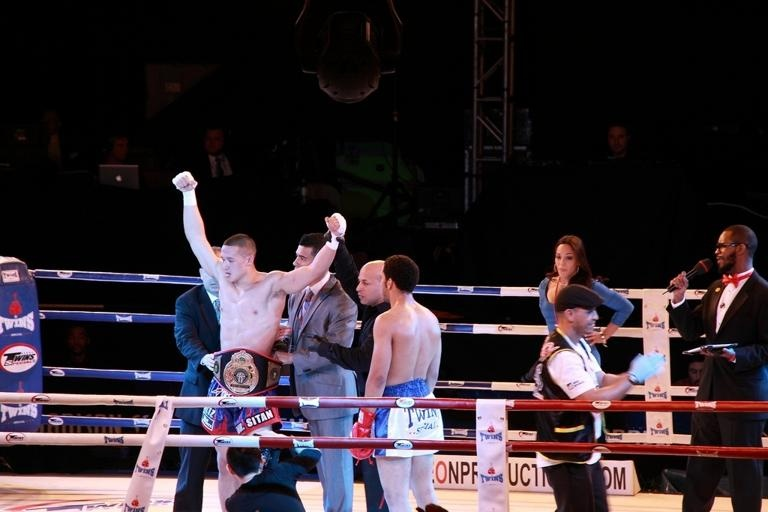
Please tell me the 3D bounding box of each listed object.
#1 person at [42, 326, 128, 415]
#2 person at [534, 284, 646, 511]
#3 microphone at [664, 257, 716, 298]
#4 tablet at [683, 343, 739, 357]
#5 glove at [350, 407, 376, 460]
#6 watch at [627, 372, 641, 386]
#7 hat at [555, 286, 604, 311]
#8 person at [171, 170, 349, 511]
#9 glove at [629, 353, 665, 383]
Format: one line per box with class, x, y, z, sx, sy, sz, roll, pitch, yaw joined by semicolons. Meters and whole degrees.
person;-3.864;1.378;11.736;1.257;1.018;0.271;2;-6;1
person;1.709;1.214;8.128;0.811;1.909;0.481;1;-11;7
microphone;3.249;0.223;10.080;0.571;0.142;0.142;-35;-20;-17
tablet;3.148;0.870;9.052;0.452;0.108;0.231;-2;-11;19
glove;-0.176;1.601;8.578;0.338;0.409;0.205;-1;1;32
watch;2.110;1.033;7.979;0.107;0.037;0.089;31;-14;7
hat;1.688;0.365;8.165;0.340;0.156;0.217;-7;-5;5
person;-1.282;0.762;8.874;1.518;3.212;0.731;-1;-11;14
glove;2.238;0.946;8.054;0.285;0.263;0.226;-1;-11;13
